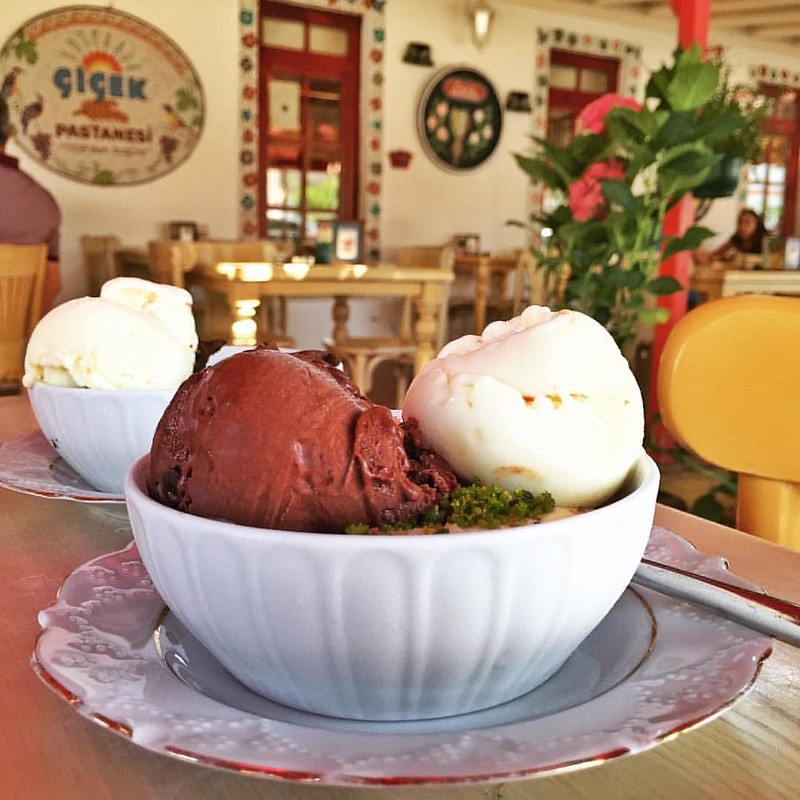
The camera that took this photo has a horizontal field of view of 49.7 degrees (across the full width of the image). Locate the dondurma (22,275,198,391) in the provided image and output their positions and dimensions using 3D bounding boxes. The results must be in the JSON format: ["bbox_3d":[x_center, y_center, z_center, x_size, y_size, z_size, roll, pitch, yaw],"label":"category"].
[{"bbox_3d":[-0.208,-0.039,0.650,0.114,0.055,0.110,9,33,7],"label":"dondurma"}]

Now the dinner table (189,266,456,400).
[{"bbox_3d":[-0.230,-0.357,3.270,1.001,0.680,0.833,-2,14,-9],"label":"dinner table"}]

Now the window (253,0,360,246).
[{"bbox_3d":[-0.529,-1.607,5.109,0.667,1.321,0.110,-5,15,-31],"label":"window"}]

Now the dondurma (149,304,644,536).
[{"bbox_3d":[0.009,0.004,0.365,0.161,0.051,0.120,-3,0,-20],"label":"dondurma"}]

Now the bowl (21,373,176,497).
[{"bbox_3d":[-0.197,0.019,0.572,0.117,0.055,0.099,0,4,-10],"label":"bowl"}]
